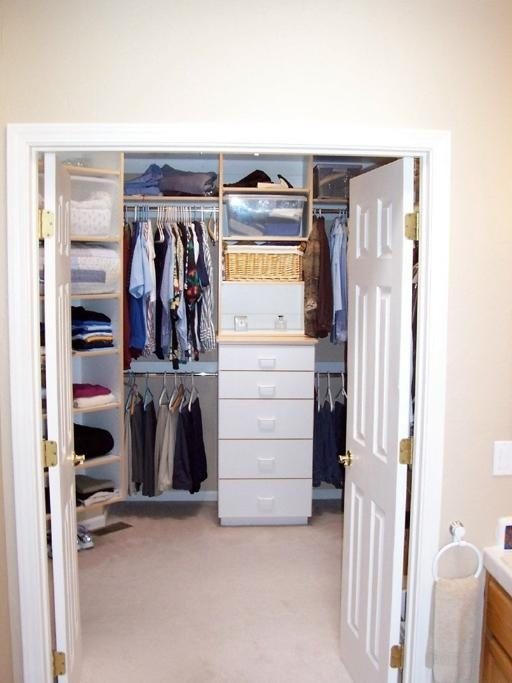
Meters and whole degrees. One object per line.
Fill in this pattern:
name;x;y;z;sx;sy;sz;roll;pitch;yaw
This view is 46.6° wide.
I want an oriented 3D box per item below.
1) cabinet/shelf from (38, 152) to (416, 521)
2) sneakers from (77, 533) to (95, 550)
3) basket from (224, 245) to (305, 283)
cabinet/shelf;-0.172;-0.042;3.025;1.620;2.238;0.690;0;0;-4
sneakers;-0.936;1.114;3.269;0.082;0.074;0.147;-1;5;-16
basket;0.046;-0.470;3.556;0.328;0.198;0.253;0;7;-3
